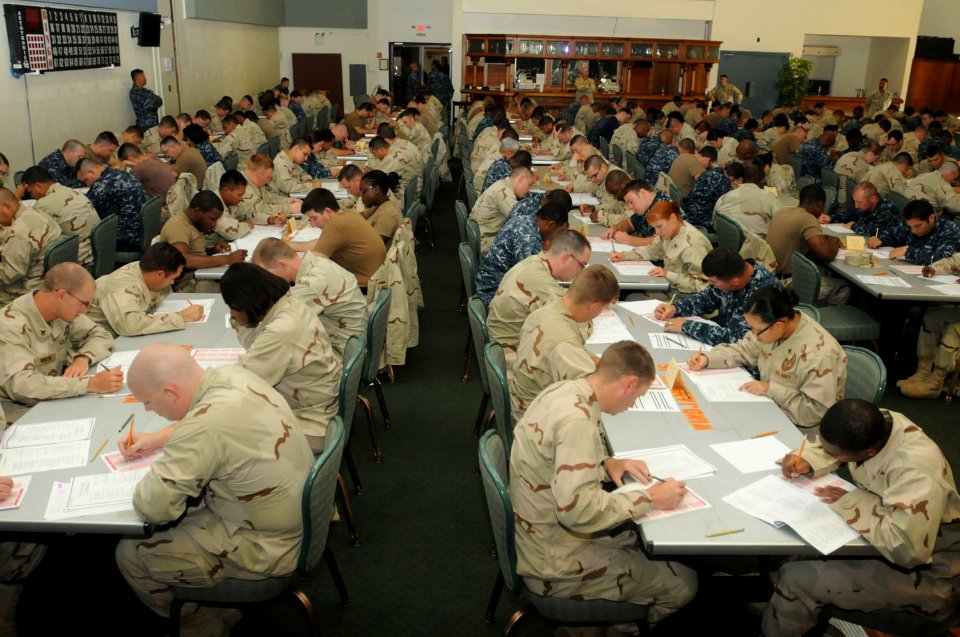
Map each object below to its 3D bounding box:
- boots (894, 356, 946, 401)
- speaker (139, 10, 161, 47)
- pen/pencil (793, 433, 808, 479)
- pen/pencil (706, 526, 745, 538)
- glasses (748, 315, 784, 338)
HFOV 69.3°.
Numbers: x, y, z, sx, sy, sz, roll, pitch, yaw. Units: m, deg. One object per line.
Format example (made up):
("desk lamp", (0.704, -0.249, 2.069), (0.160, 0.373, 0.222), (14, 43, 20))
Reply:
("boots", (3.639, 0.498, 5.775), (0.482, 0.343, 0.188), (7, 20, 9))
("speaker", (-5.685, -4.872, 11.798), (0.224, 0.551, 0.674), (-1, 19, -5))
("pen/pencil", (1.598, 0.698, 3.476), (0.027, 0.026, 0.210), (-14, 34, 48))
("pen/pencil", (1.095, 0.962, 3.126), (0.139, 0.022, 0.020), (-6, -7, -3))
("glasses", (1.649, 0.045, 4.021), (0.166, 0.079, 0.144), (-6, 23, -2))
